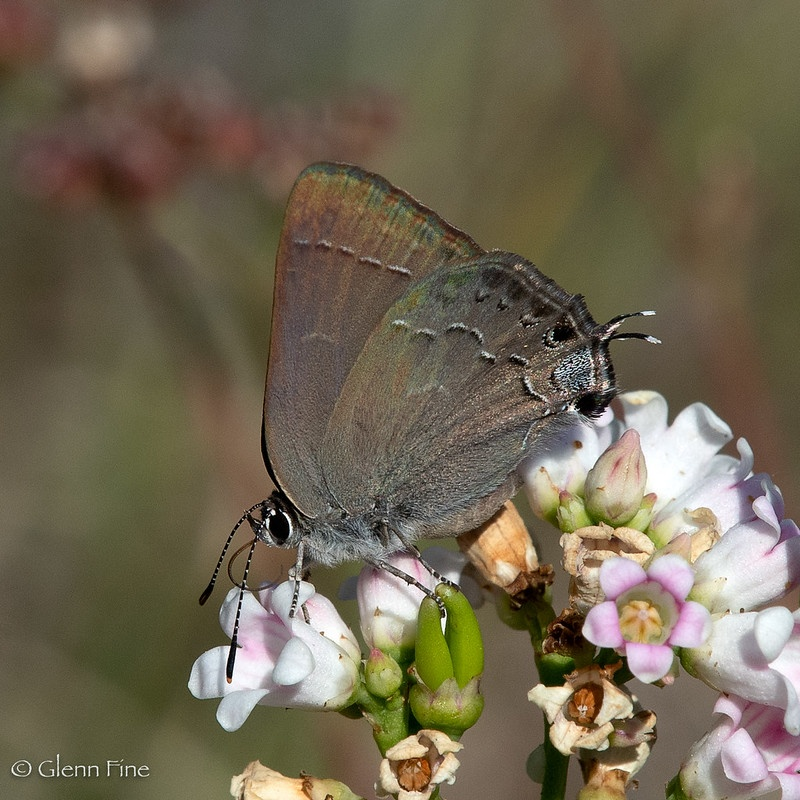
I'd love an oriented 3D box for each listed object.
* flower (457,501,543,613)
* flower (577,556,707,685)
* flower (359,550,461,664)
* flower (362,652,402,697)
[{"bbox_3d":[0.339,0.518,3.956,0.101,0.202,0.319,2,54,-59],"label":"flower"},{"bbox_3d":[0.633,0.584,3.266,0.350,0.163,0.338,-25,77,-14],"label":"flower"},{"bbox_3d":[0.073,0.637,3.870,0.173,0.368,0.344,6,22,-6],"label":"flower"},{"bbox_3d":[-0.053,0.839,3.648,0.126,0.129,0.108,13,32,2],"label":"flower"}]
